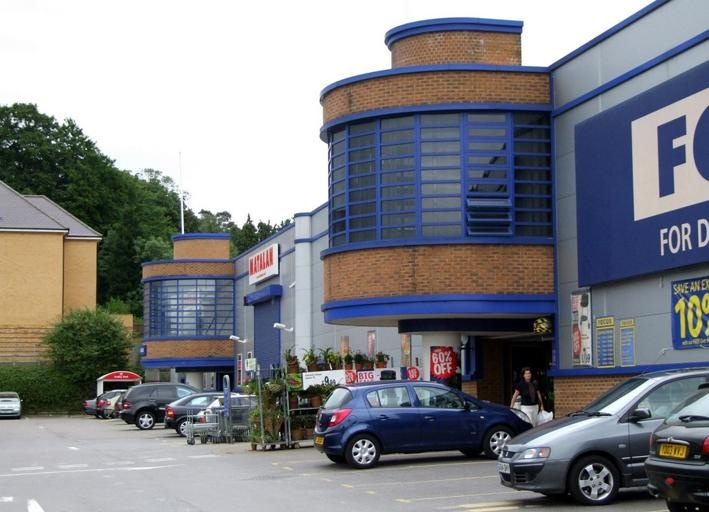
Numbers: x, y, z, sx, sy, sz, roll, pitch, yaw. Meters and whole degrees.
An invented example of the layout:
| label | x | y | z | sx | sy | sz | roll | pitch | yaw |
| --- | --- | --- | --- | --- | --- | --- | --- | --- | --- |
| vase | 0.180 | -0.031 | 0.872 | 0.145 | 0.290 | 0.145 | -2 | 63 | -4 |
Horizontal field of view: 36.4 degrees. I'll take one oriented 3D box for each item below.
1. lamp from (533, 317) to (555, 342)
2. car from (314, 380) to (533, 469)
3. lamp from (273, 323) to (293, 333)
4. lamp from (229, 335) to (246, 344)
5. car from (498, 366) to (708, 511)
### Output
| label | x | y | z | sx | sy | sz | roll | pitch | yaw |
| --- | --- | --- | --- | --- | --- | --- | --- | --- | --- |
| lamp | 5.769 | 2.188 | 32.770 | 0.650 | 0.536 | 0.514 | -6 | 6 | -8 |
| car | 1.619 | 4.396 | 27.778 | 4.877 | 1.811 | 2.353 | -2 | -4 | -15 |
| lamp | -3.401 | 3.383 | 51.133 | 1.007 | 0.332 | 0.543 | 15 | -11 | -28 |
| lamp | -6.777 | 4.920 | 61.838 | 0.708 | 0.193 | 0.737 | 4 | -5 | 26 |
| car | 5.061 | 3.751 | 22.545 | 4.257 | 1.913 | 2.356 | 0 | -8 | -8 |
